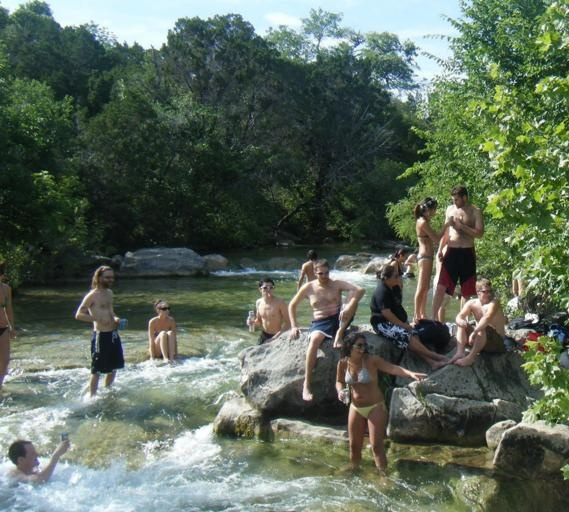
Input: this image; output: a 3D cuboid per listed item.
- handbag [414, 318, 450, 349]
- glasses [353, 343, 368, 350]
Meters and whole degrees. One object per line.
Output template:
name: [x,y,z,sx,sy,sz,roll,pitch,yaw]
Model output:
handbag: [2.319,1.191,8.815,0.496,0.454,0.232,13,17,3]
glasses: [0.969,1.158,7.122,0.141,0.103,0.042,-2,6,-20]
